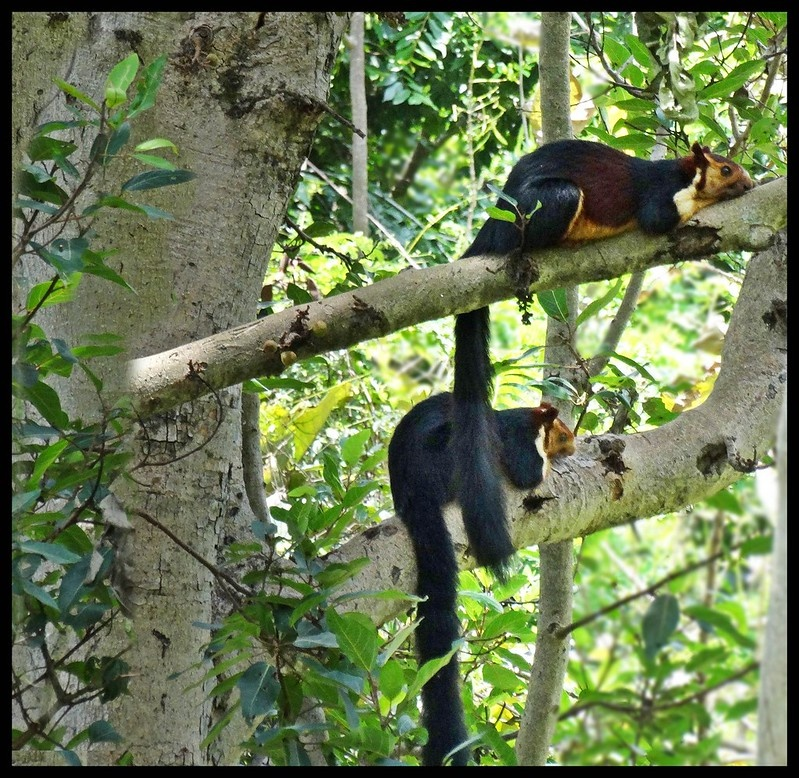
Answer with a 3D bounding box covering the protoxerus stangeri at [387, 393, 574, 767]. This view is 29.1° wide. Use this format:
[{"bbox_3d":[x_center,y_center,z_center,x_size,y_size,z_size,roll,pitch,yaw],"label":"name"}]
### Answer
[{"bbox_3d":[0.146,0.321,3.768,0.299,1.098,0.358,-1,-28,35],"label":"protoxerus stangeri"}]
